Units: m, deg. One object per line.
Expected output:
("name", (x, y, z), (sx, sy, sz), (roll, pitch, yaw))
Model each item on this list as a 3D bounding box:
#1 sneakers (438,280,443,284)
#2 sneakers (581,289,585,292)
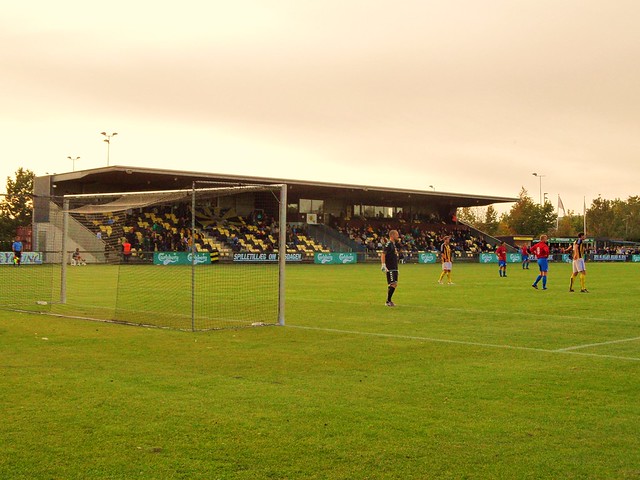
("sneakers", (4.666, 1.625, 25.171), (0.133, 0.159, 0.418), (2, 6, 16))
("sneakers", (8.689, 1.653, 21.391), (0.155, 0.051, 0.126), (1, 1, -22))
